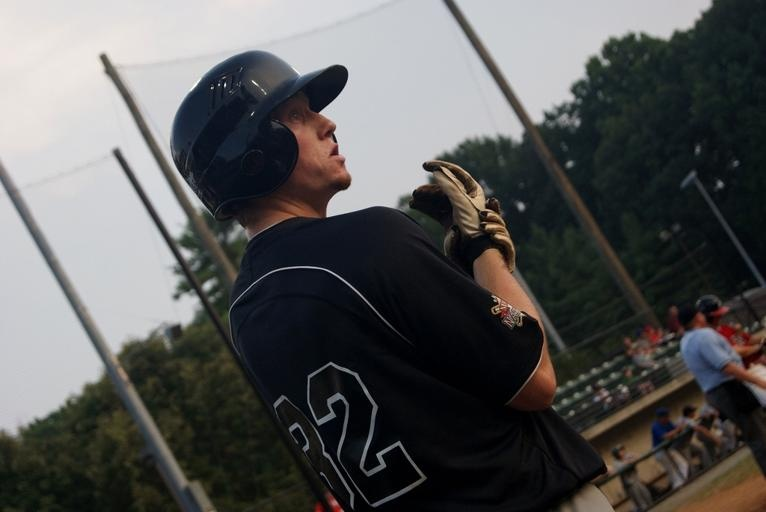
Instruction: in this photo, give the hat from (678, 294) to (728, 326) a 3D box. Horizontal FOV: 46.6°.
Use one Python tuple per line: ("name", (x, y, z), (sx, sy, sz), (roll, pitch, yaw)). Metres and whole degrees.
("hat", (5.893, 1.036, 16.580), (0.762, 0.356, 0.547), (-29, 18, 6))
